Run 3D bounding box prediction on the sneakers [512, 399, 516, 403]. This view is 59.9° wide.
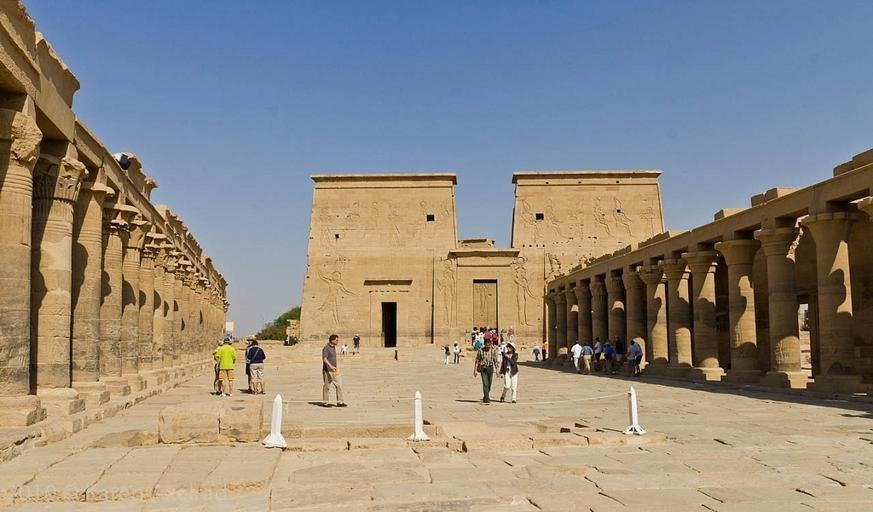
[{"bbox_3d":[2.239,4.132,21.603,0.125,0.042,0.112,0,-3,9],"label":"sneakers"}]

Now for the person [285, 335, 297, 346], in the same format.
[{"bbox_3d":[-11.419,6.746,59.984,1.256,0.680,1.095,0,0,3],"label":"person"}]

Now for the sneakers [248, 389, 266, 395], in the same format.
[{"bbox_3d":[-5.577,4.271,23.745,0.666,0.207,0.208,2,-3,-25],"label":"sneakers"}]
